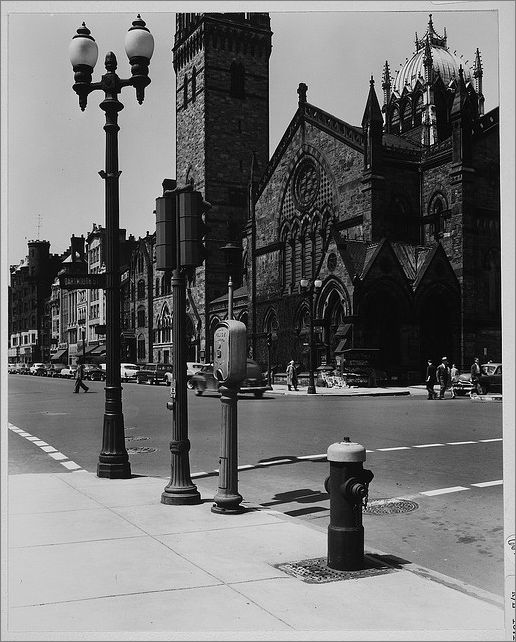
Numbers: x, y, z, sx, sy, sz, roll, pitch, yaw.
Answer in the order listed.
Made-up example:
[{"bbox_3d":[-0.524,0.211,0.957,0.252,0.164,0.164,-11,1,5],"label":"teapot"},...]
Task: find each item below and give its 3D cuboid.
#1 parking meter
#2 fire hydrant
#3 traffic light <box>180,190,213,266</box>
[{"bbox_3d":[-0.317,0.953,14.483,0.380,2.095,0.369,-1,3,-32],"label":"parking meter"},{"bbox_3d":[0.829,1.643,12.405,0.422,1.198,0.370,0,-3,4],"label":"fire hydrant"},{"bbox_3d":[-0.698,-1.047,15.172,0.298,0.910,0.386,-1,-3,24],"label":"traffic light"}]
